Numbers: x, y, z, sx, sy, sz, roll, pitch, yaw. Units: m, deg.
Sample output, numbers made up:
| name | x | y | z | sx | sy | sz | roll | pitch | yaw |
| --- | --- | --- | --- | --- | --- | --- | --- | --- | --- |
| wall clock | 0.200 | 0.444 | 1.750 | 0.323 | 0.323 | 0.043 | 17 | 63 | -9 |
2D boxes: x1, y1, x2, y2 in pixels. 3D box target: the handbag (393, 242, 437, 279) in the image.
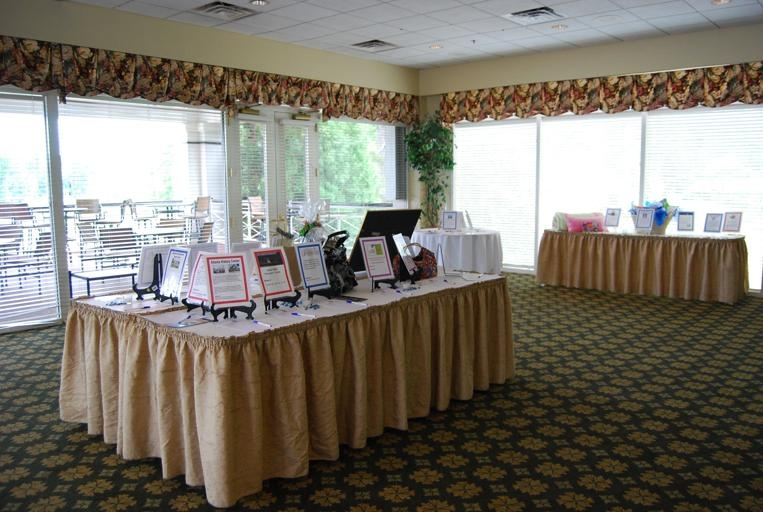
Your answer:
| name | x | y | z | sx | sy | sz | roll | pitch | yaw |
| --- | --- | --- | --- | --- | --- | --- | --- | --- | --- |
| handbag | 0.294 | 0.052 | 4.817 | 0.371 | 0.281 | 0.162 | -6 | 5 | -32 |

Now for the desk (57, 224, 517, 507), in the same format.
| name | x | y | z | sx | sy | sz | roll | pitch | yaw |
| --- | --- | --- | --- | --- | --- | --- | --- | --- | --- |
| desk | -0.597 | 0.896 | 4.240 | 3.319 | 1.152 | 1.429 | -6 | 14 | -25 |

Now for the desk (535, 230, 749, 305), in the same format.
| name | x | y | z | sx | sy | sz | roll | pitch | yaw |
| --- | --- | --- | --- | --- | --- | --- | --- | --- | --- |
| desk | 4.182 | 0.064 | 8.357 | 2.799 | 0.850 | 0.879 | 5 | 16 | 29 |
